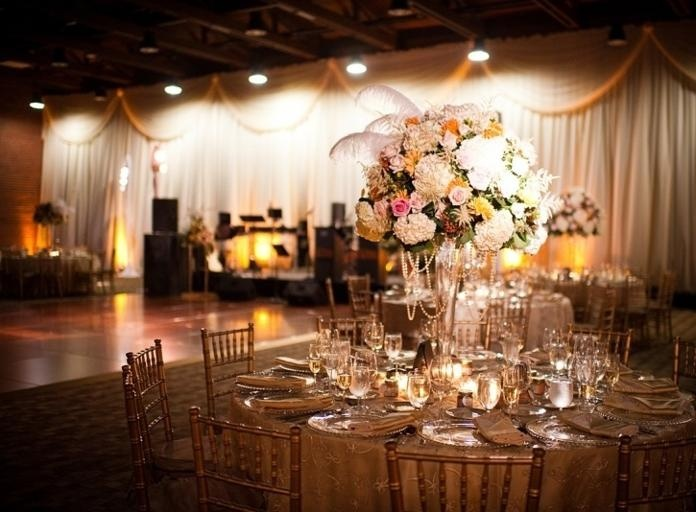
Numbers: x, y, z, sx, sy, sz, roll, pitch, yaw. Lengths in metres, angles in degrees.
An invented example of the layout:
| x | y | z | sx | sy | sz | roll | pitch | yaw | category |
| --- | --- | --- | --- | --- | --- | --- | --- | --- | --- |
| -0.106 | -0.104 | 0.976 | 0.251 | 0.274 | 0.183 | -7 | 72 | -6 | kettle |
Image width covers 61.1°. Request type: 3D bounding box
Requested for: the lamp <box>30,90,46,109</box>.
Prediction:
| x | y | z | sx | sy | sz | roll | pitch | yaw | category |
| --- | --- | --- | --- | --- | --- | --- | --- | --- | --- |
| -3.394 | -1.696 | 6.419 | 0.136 | 0.174 | 0.162 | -1 | -9 | 3 | lamp |

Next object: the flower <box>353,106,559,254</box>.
| x | y | z | sx | sy | sz | roll | pitch | yaw | category |
| --- | --- | --- | --- | --- | --- | --- | --- | --- | --- |
| 0.632 | -0.458 | 3.429 | 0.808 | 0.652 | 0.877 | 6 | 7 | 9 | flower |

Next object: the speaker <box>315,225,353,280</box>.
| x | y | z | sx | sy | sz | roll | pitch | yaw | category |
| --- | --- | --- | --- | --- | --- | --- | --- | --- | --- |
| -0.315 | 0.058 | 12.389 | 0.805 | 1.296 | 0.878 | 3 | 1 | -9 | speaker |

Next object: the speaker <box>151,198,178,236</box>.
| x | y | z | sx | sy | sz | roll | pitch | yaw | category |
| --- | --- | --- | --- | --- | --- | --- | --- | --- | --- |
| -2.429 | -0.534 | 7.766 | 0.118 | 0.457 | 0.486 | 3 | 8 | 26 | speaker |

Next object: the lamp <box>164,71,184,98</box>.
| x | y | z | sx | sy | sz | roll | pitch | yaw | category |
| --- | --- | --- | --- | --- | --- | --- | --- | --- | --- |
| -2.427 | -2.387 | 8.362 | 0.265 | 0.334 | 0.316 | 1 | -18 | -6 | lamp |
